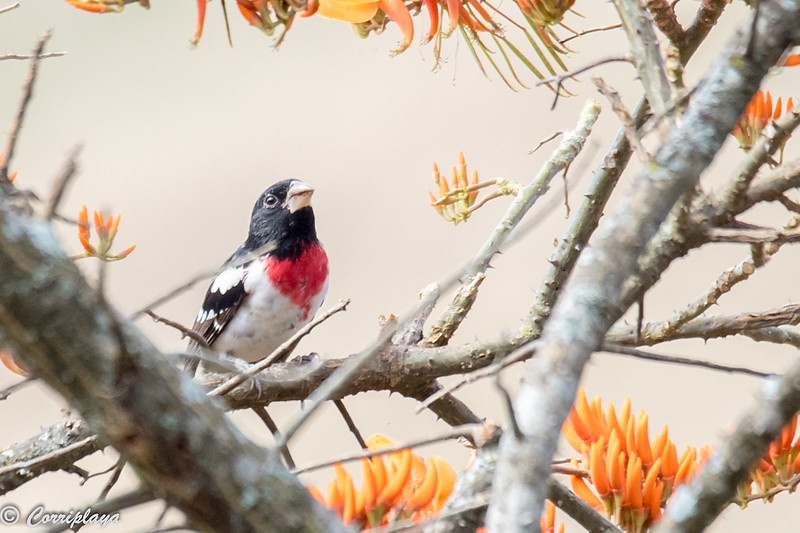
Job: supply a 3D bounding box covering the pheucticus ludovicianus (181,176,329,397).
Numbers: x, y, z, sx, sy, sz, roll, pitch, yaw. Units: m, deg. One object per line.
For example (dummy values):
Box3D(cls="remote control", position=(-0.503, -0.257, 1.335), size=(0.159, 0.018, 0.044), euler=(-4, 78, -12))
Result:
Box3D(cls="pheucticus ludovicianus", position=(-0.397, 0.063, 2.797), size=(0.595, 0.300, 0.560), euler=(-6, -94, 45))
